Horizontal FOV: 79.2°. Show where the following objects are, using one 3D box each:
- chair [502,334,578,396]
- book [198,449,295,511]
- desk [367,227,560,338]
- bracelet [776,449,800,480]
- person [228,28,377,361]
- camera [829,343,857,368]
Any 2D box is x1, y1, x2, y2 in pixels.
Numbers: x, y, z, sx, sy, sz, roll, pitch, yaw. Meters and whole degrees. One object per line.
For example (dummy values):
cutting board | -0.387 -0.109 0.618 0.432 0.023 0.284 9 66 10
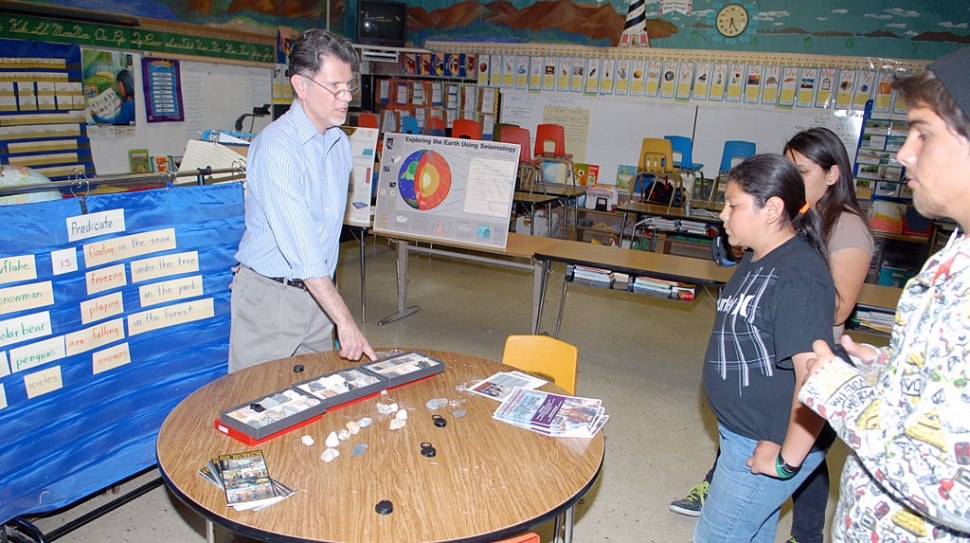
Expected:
chair | 0.376 0.528 3.825 0.392 0.563 0.413 6 10 17
book | -1.095 0.954 2.690 0.406 0.118 0.233 18 23 37
desk | -0.084 -0.165 6.448 2.400 1.116 1.195 10 18 26
bracelet | 1.393 0.908 2.728 0.105 0.146 0.059 6 20 6
person | -1.098 -0.324 3.376 0.834 2.043 0.811 -4 21 -22
camera | 1.486 0.353 2.457 0.136 0.082 0.038 22 47 -7
